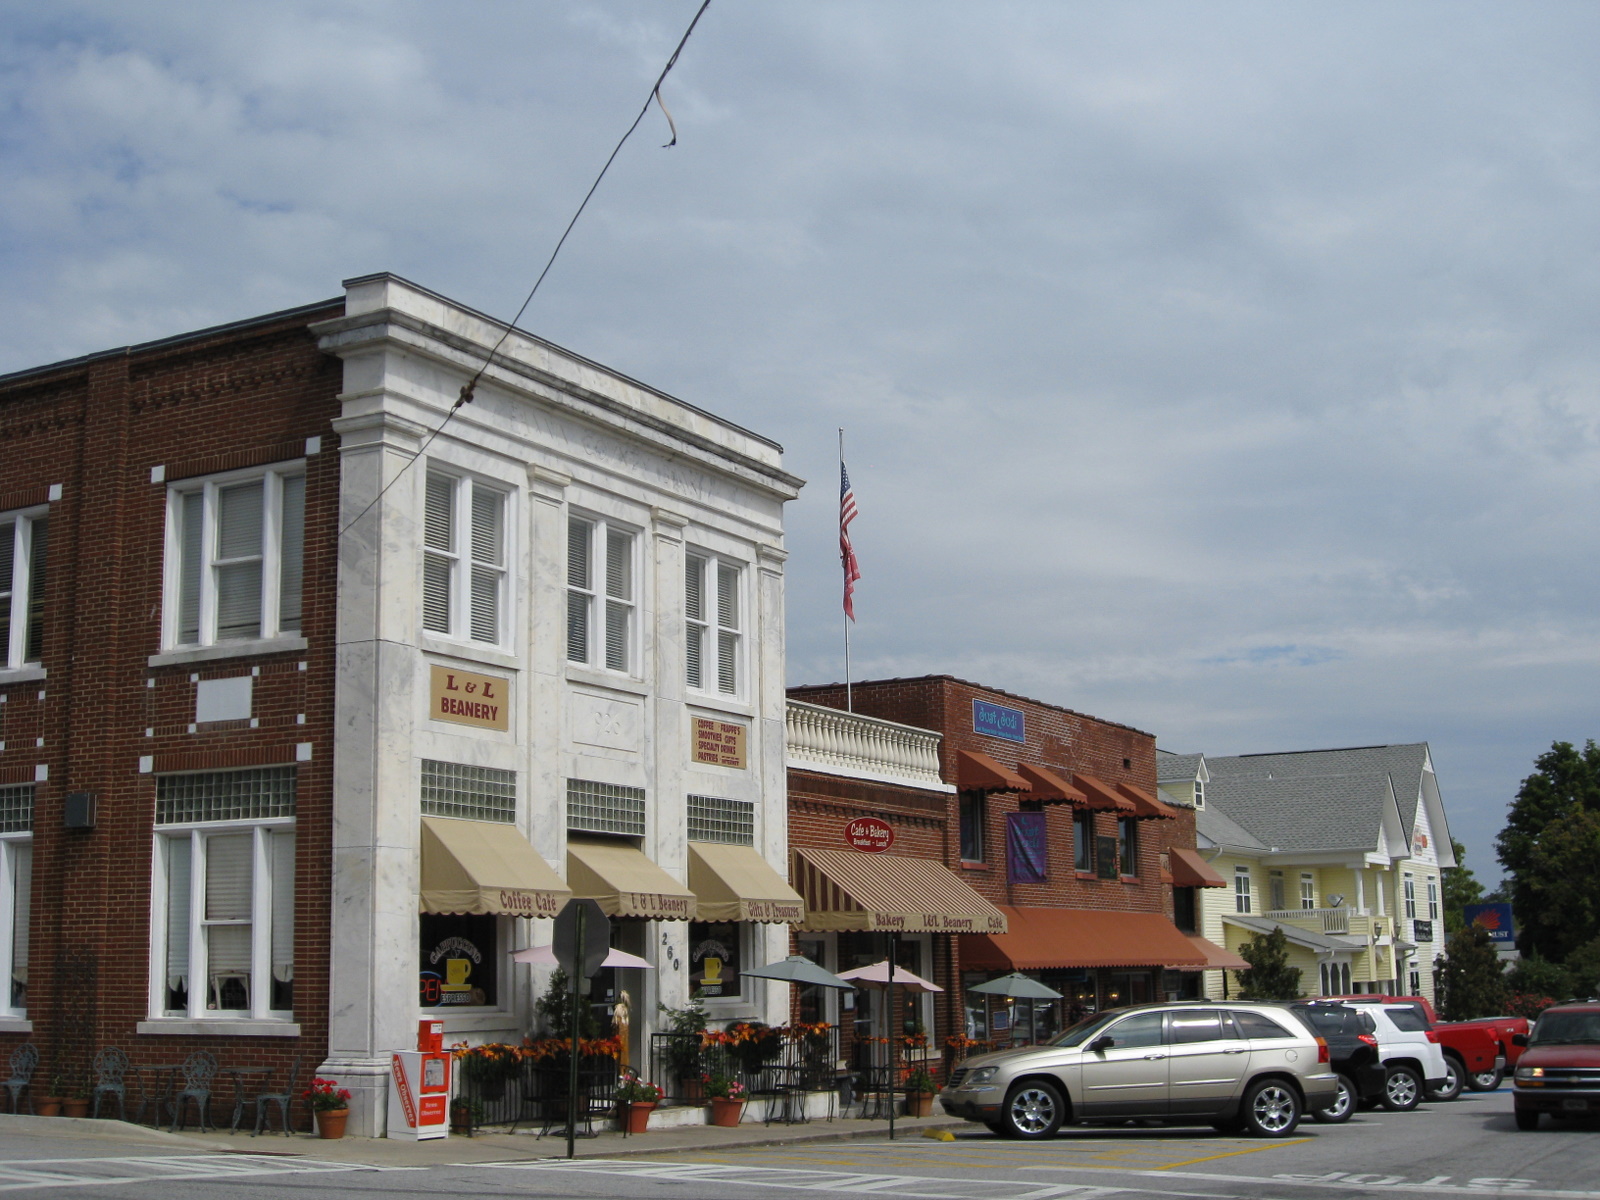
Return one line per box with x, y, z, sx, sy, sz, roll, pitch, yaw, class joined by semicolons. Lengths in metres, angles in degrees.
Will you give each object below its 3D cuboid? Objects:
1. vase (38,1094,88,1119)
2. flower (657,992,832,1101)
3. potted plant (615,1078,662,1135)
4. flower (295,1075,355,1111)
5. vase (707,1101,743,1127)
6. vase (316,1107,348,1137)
-11.132;7.720;38.467;0.469;0.211;0.434;10;-12;-43;vase
-1.033;7.570;42.464;1.989;0.710;2.412;1;-14;-7;flower
-2.643;7.912;39.381;0.869;0.782;0.737;6;-19;-20;potted plant
-6.830;7.145;36.550;0.541;0.360;0.567;4;-7;-38;flower
-1.206;8.419;41.326;0.461;0.270;0.451;-11;-18;29;vase
-6.670;7.518;36.279;0.429;0.287;0.414;13;-22;-32;vase
